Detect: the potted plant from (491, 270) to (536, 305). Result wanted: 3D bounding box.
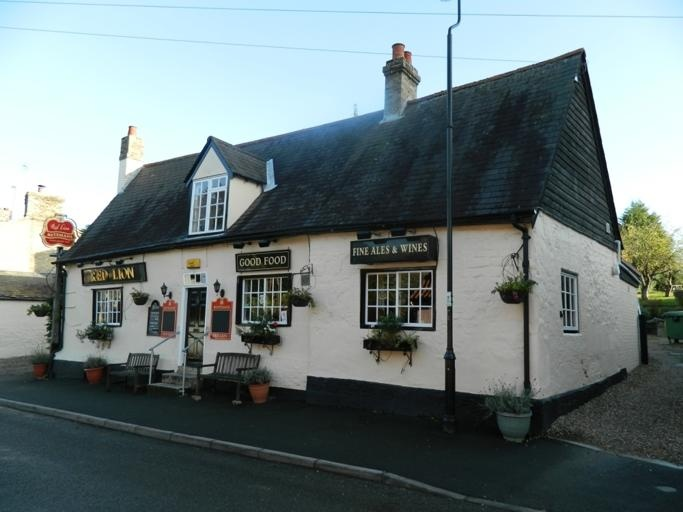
[{"bbox_3d":[3.688,0.668,12.151,0.624,0.482,0.669,-4,-3,11],"label":"potted plant"}]

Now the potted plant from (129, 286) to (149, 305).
[{"bbox_3d":[-6.388,1.318,18.086,0.703,0.518,0.405,4,6,43],"label":"potted plant"}]

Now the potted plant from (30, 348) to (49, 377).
[{"bbox_3d":[-10.531,3.742,19.952,0.739,1.216,0.802,2,-11,-21],"label":"potted plant"}]

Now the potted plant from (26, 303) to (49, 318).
[{"bbox_3d":[-11.911,2.113,22.427,0.802,0.605,0.786,1,-7,-19],"label":"potted plant"}]

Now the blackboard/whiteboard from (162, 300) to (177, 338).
[{"bbox_3d":[-5.262,1.887,17.464,0.553,1.145,0.023,-1,-9,22],"label":"blackboard/whiteboard"}]

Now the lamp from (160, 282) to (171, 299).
[{"bbox_3d":[-5.415,1.063,17.606,0.478,0.470,0.191,4,6,44],"label":"lamp"}]

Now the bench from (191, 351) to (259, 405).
[{"bbox_3d":[-3.051,3.213,15.218,1.559,1.333,0.901,-2,-9,32],"label":"bench"}]

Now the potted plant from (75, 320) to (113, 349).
[{"bbox_3d":[-7.991,2.606,18.783,0.914,0.601,0.997,-5,-5,35],"label":"potted plant"}]

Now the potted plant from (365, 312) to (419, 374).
[{"bbox_3d":[1.283,1.818,13.721,1.514,1.694,1.116,2,5,29],"label":"potted plant"}]

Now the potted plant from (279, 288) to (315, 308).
[{"bbox_3d":[-1.075,1.052,14.694,0.548,0.433,0.542,1,-9,1],"label":"potted plant"}]

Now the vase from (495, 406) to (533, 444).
[{"bbox_3d":[3.484,3.422,11.595,0.597,0.495,0.592,10,-15,-38],"label":"vase"}]

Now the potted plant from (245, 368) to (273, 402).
[{"bbox_3d":[-2.056,3.347,14.804,0.732,0.785,0.636,-5,6,-42],"label":"potted plant"}]

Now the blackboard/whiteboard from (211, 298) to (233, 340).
[{"bbox_3d":[-3.364,1.806,16.257,1.011,1.707,0.113,-4,-8,34],"label":"blackboard/whiteboard"}]

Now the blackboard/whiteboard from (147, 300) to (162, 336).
[{"bbox_3d":[-5.783,1.924,17.770,0.568,1.060,0.228,2,5,29],"label":"blackboard/whiteboard"}]

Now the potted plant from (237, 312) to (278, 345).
[{"bbox_3d":[-2.162,1.992,15.328,1.129,0.888,0.518,2,5,28],"label":"potted plant"}]

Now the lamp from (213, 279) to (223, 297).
[{"bbox_3d":[-3.495,0.916,16.412,0.371,0.462,0.177,0,4,6],"label":"lamp"}]

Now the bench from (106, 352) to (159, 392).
[{"bbox_3d":[-6.207,3.453,17.037,1.378,1.097,0.898,-4,-8,36],"label":"bench"}]

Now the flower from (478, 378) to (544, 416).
[{"bbox_3d":[3.491,2.942,11.890,0.760,0.619,0.831,-4,-7,42],"label":"flower"}]

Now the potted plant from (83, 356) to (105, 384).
[{"bbox_3d":[-7.733,3.560,17.966,0.708,0.903,0.710,2,-7,-21],"label":"potted plant"}]
